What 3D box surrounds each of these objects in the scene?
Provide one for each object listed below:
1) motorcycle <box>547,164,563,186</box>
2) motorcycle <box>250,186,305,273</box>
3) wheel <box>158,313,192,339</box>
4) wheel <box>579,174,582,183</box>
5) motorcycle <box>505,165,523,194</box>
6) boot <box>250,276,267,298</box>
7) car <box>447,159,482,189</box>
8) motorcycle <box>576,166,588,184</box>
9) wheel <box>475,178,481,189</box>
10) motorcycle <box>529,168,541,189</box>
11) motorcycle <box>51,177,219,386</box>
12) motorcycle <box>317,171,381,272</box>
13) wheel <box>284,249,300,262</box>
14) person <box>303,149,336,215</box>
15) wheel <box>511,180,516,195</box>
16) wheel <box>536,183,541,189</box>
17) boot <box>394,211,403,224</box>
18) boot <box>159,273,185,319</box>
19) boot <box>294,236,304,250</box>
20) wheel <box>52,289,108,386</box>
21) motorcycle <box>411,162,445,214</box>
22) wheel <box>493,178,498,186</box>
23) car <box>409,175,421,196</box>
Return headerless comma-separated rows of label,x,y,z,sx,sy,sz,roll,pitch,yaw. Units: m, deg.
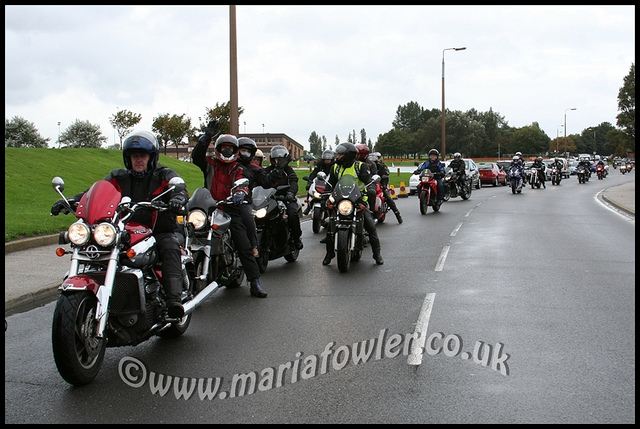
motorcycle,21.180,-3.579,42.971,1.414,1.764,2.739,-1,3,25
motorcycle,-0.876,0.268,9.231,0.473,1.686,1.513,-2,5,17
wheel,-1.723,1.319,5.587,0.138,0.389,0.374,1,-13,10
wheel,24.493,-3.414,44.331,0.234,0.722,0.529,-2,5,24
motorcycle,12.807,-2.313,30.946,0.911,1.850,0.909,-3,5,13
boot,-0.994,1.167,7.628,0.211,0.312,0.328,-6,5,-28
car,11.124,-3.329,36.551,2.429,2.275,4.297,-1,2,27
motorcycle,24.705,-3.792,44.444,0.534,1.523,1.359,-1,6,34
wheel,12.326,-2.322,37.019,0.790,0.646,0.221,-8,6,-40
motorcycle,16.611,-2.812,36.388,0.778,1.507,0.606,-4,5,-4
motorcycle,-1.988,0.607,5.135,0.924,1.975,1.788,-2,5,20
motorcycle,0.652,0.137,9.547,1.090,1.897,1.259,-3,5,8
wheel,-0.607,0.873,10.146,0.115,0.323,0.312,-1,11,16
person,0.032,-1.180,12.477,0.866,1.020,1.712,2,5,6
wheel,12.686,-1.833,30.888,0.270,0.862,0.499,-1,5,25
wheel,16.972,-2.217,36.513,0.290,0.341,0.568,0,7,15
boot,2.755,0.102,16.445,0.198,0.337,0.484,-3,5,7
boot,-1.661,0.914,5.279,0.194,0.423,0.433,-6,23,-14
boot,-0.443,0.598,9.990,0.108,0.337,0.231,-15,29,-13
wheel,-2.341,1.197,4.619,0.472,0.971,0.299,-7,6,-36
motorcycle,4.555,-1.066,19.596,1.012,1.973,1.874,-3,5,13
wheel,15.819,-2.833,42.237,0.127,0.550,0.560,15,52,14
car,6.852,-2.070,32.710,1.181,1.294,2.686,-1,1,7
